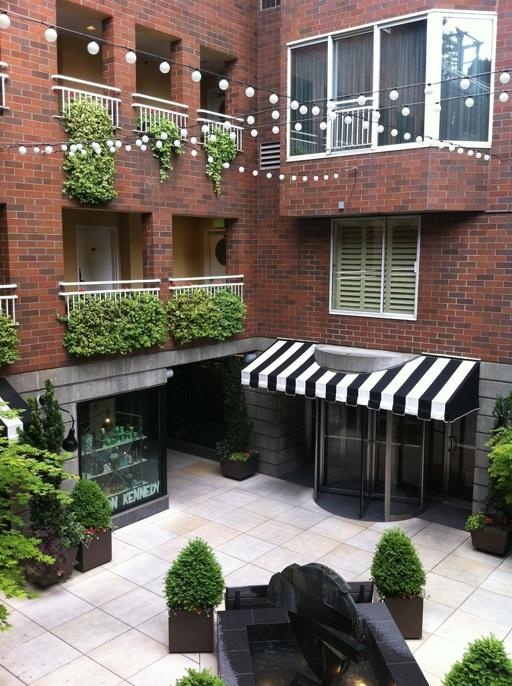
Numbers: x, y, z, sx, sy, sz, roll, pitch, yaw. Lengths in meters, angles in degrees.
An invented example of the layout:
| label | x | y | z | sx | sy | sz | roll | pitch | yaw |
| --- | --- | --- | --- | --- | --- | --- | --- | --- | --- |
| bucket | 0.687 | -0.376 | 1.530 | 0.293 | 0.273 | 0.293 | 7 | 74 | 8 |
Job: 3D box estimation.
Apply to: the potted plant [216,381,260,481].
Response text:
| label | x | y | z | sx | sy | sz | roll | pitch | yaw |
| --- | --- | --- | --- | --- | --- | --- | --- | --- | --- |
| potted plant | -0.521 | 2.447 | 16.334 | 1.048 | 2.693 | 0.804 | -1 | 5 | -12 |

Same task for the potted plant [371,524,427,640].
| label | x | y | z | sx | sy | sz | roll | pitch | yaw |
| --- | --- | --- | --- | --- | --- | --- | --- | --- | --- |
| potted plant | 2.089 | 3.618 | 8.619 | 0.760 | 1.687 | 0.377 | 1 | 5 | 12 |

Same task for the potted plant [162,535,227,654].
| label | x | y | z | sx | sy | sz | roll | pitch | yaw |
| --- | --- | --- | --- | --- | --- | --- | --- | --- | --- |
| potted plant | -0.898 | 3.588 | 8.378 | 0.843 | 1.491 | 0.813 | 3 | -21 | -6 |

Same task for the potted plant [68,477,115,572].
| label | x | y | z | sx | sy | sz | roll | pitch | yaw |
| --- | --- | --- | --- | --- | --- | --- | --- | --- | --- |
| potted plant | -3.097 | 3.447 | 10.955 | 0.741 | 1.734 | 0.527 | -2 | 5 | -22 |
